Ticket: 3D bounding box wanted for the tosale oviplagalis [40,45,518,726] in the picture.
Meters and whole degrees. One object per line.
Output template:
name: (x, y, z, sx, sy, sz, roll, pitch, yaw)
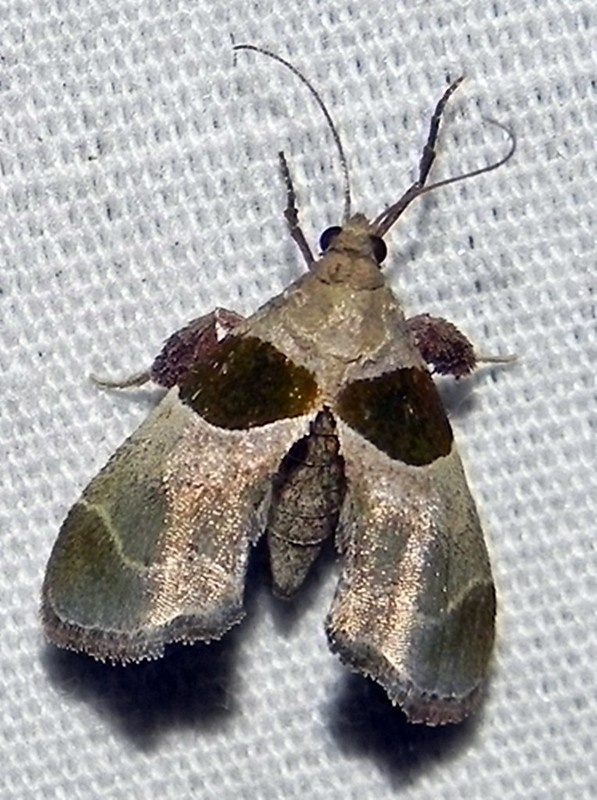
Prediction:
tosale oviplagalis: (-0.018, 0.133, 2.389, 0.864, 0.414, 0.854, 8, 62, 3)
